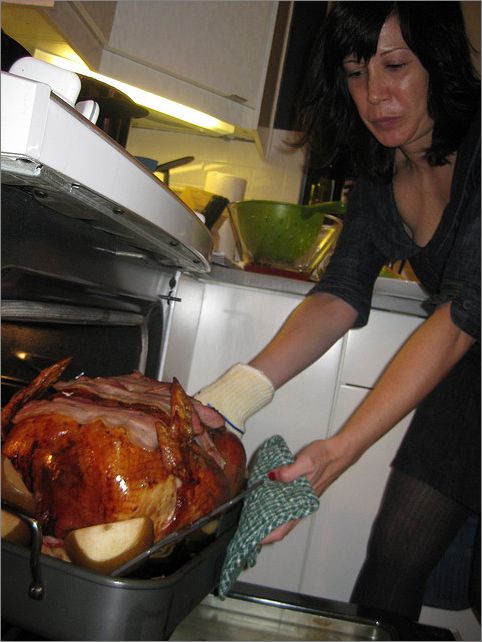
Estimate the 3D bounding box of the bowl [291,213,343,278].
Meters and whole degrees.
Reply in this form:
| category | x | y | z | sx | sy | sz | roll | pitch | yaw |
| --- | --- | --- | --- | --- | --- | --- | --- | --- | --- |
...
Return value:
| category | x | y | z | sx | sy | sz | roll | pitch | yaw |
| --- | --- | --- | --- | --- | --- | --- | --- | --- | --- |
| bowl | 0.230 | -0.194 | 1.234 | 0.144 | 0.195 | 0.069 | 31 | 10 | 35 |

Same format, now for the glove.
| category | x | y | z | sx | sy | sz | roll | pitch | yaw |
| --- | --- | --- | --- | --- | --- | --- | --- | --- | --- |
| glove | -0.004 | 0.082 | 0.515 | 0.091 | 0.074 | 0.087 | -8 | 14 | -42 |

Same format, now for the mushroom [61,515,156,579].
| category | x | y | z | sx | sy | sz | roll | pitch | yaw |
| --- | --- | --- | --- | --- | --- | --- | --- | --- | --- |
| mushroom | -0.069 | 0.115 | 0.227 | 0.045 | 0.026 | 0.011 | 5 | -5 | -5 |
